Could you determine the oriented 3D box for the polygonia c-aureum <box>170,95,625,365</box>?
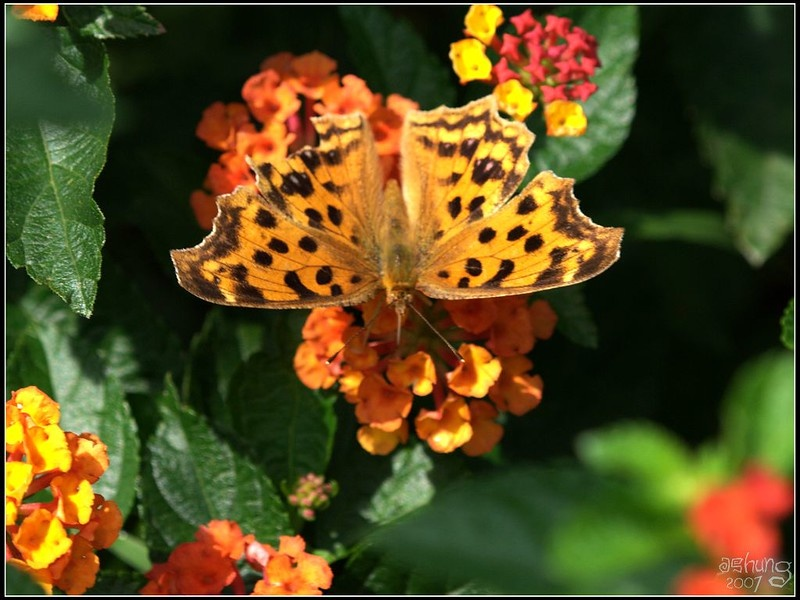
[{"bbox_3d":[0.001,-0.150,1.760,0.864,0.343,0.425,0,51,3],"label":"polygonia c-aureum"}]
